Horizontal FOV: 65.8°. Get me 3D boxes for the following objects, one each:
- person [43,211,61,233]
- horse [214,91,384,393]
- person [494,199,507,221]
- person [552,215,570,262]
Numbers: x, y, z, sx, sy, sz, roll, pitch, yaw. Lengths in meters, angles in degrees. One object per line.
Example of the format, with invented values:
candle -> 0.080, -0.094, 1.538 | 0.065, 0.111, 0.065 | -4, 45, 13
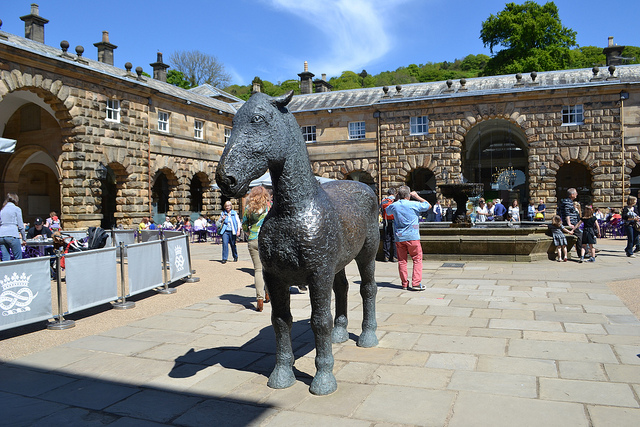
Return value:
person -> -11.190, 0.359, 20.669 | 0.635, 0.992, 0.355 | -2, -24, -13
horse -> -0.164, 0.314, 7.286 | 2.010, 4.115, 1.902 | 0, 8, 6
person -> 8.389, -0.104, 23.154 | 0.416, 0.890, 0.725 | 2, 9, 20
person -> 7.312, 0.745, 15.026 | 0.425, 1.384, 0.689 | 5, 10, 36
